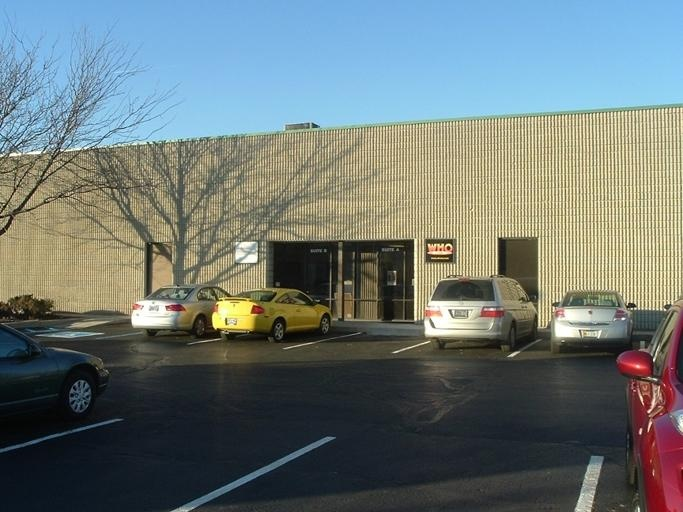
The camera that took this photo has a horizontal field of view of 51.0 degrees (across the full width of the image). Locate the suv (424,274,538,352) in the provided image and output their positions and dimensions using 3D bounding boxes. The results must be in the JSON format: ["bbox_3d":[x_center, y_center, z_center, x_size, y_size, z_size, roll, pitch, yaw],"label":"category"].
[{"bbox_3d":[3.891,1.491,18.991,1.552,1.185,3.137,-1,1,24],"label":"suv"}]

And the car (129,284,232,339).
[{"bbox_3d":[-4.877,1.700,22.679,1.429,0.979,3.145,0,1,20],"label":"car"}]

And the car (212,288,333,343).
[{"bbox_3d":[-1.970,1.784,22.174,1.732,1.581,4.056,0,1,37],"label":"car"}]

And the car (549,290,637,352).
[{"bbox_3d":[6.104,1.604,17.481,1.225,0.854,2.544,-1,1,14],"label":"car"}]
